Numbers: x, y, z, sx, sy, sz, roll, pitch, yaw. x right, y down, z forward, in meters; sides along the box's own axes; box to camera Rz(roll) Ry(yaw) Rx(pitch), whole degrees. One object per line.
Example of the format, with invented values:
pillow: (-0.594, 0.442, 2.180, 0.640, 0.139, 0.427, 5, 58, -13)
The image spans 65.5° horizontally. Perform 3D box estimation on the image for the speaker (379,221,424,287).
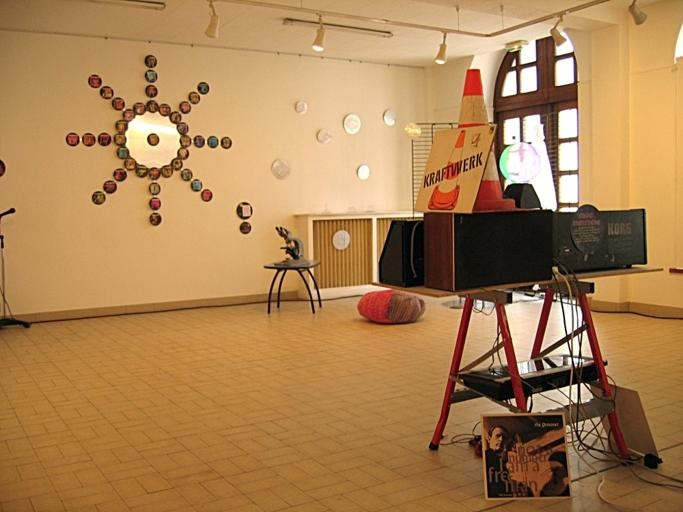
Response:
speaker: (0.367, -0.014, 3.249, 0.274, 0.410, 0.193, -1, 6, 3)

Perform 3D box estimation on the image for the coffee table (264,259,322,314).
coffee table: (-0.812, 0.479, 8.797, 0.930, 0.839, 0.909, -1, -1, -8)
